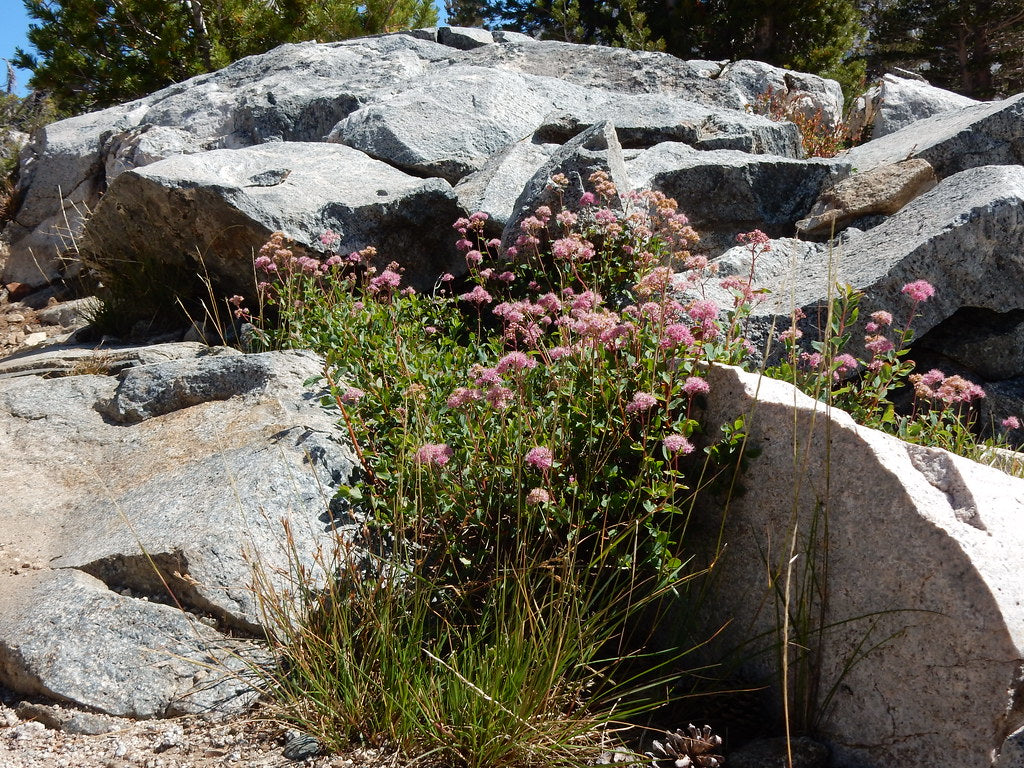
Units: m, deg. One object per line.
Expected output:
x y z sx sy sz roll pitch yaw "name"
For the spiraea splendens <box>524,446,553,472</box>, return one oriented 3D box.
0.208 0.539 9.957 0.155 0.180 0.157 -14 56 16 "spiraea splendens"
